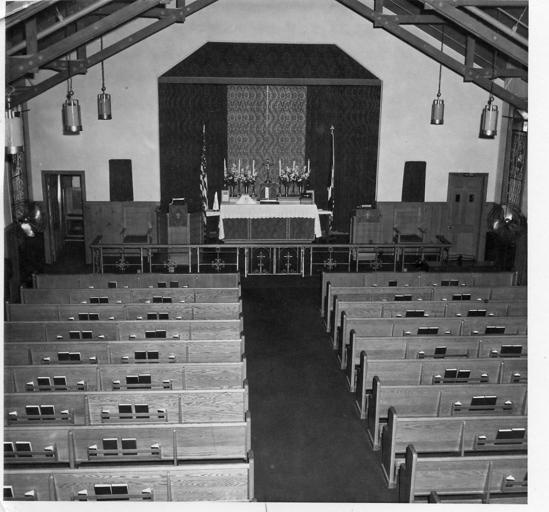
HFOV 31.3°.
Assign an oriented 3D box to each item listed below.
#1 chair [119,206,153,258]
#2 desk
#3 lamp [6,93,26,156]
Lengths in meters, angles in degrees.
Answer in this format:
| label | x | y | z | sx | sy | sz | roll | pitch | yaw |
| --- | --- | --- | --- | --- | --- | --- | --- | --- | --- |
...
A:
| label | x | y | z | sx | sy | sz | roll | pitch | yaw |
| --- | --- | --- | --- | --- | --- | --- | --- | --- | --- |
| chair | -2.580 | -0.429 | 18.380 | 0.629 | 0.945 | 0.719 | 4 | 7 | 4 |
| desk | -0.103 | -0.586 | 17.460 | 1.716 | 0.685 | 0.256 | 0 | 3 | -6 |
| lamp | -2.834 | -1.385 | 10.728 | 0.180 | 0.495 | 0.605 | 0 | 3 | -15 |
